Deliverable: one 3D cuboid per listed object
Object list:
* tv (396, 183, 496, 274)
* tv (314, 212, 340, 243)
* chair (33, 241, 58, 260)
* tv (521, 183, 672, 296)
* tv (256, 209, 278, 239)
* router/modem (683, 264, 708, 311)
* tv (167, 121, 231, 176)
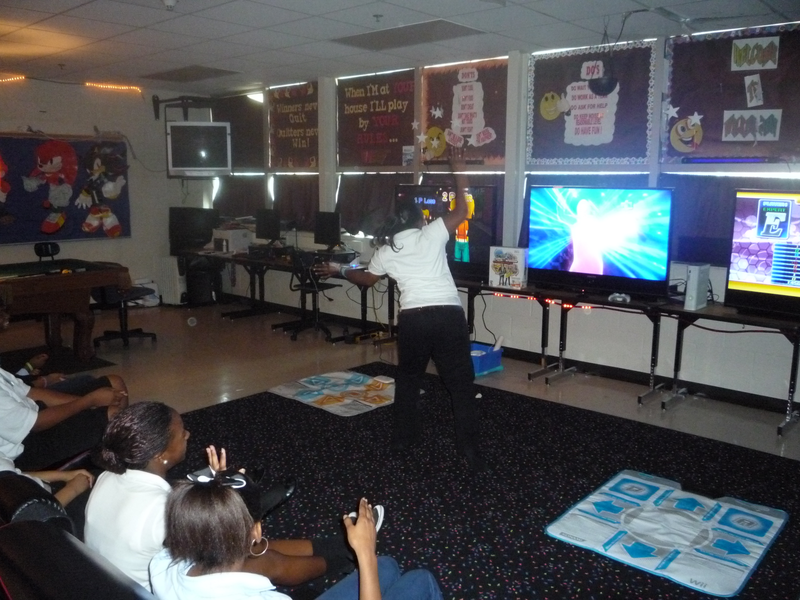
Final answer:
[{"bbox_3d":[0.467,-0.605,5.147,0.962,0.842,0.133,12,12,42],"label":"tv"},{"bbox_3d":[-0.876,-0.888,7.298,0.348,0.386,0.054,7,16,30],"label":"tv"},{"bbox_3d":[-4.326,-0.619,7.267,0.224,0.289,0.210,-9,26,-40],"label":"chair"},{"bbox_3d":[1.856,-0.545,5.436,1.006,0.758,0.111,7,12,38],"label":"tv"},{"bbox_3d":[-1.778,-1.032,8.055,0.326,0.462,0.238,4,18,8],"label":"tv"},{"bbox_3d":[2.457,-0.102,4.903,0.114,0.328,0.357,3,7,42],"label":"router/modem"},{"bbox_3d":[-2.903,-2.182,8.523,0.756,0.657,0.314,-1,4,-15],"label":"tv"}]
